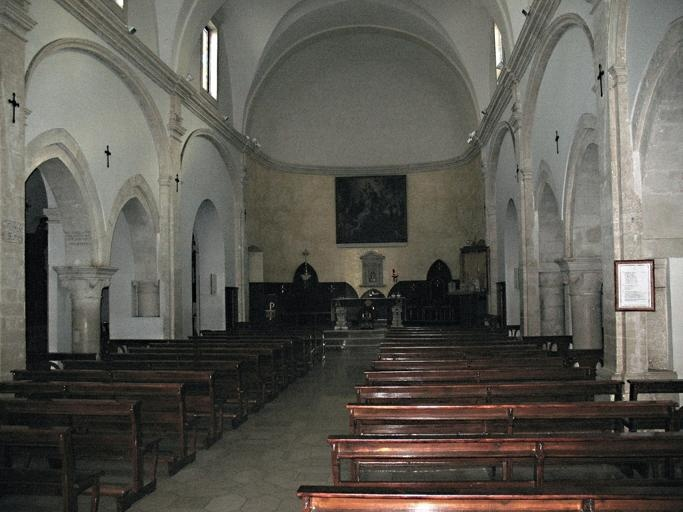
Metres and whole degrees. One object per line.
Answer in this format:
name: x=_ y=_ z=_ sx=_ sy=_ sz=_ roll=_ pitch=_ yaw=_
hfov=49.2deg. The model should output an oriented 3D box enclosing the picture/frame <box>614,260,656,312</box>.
picture/frame: x=4.421 y=0.439 z=11.217 sx=0.723 sy=1.034 sz=0.067 roll=-1 pitch=-4 yaw=22
